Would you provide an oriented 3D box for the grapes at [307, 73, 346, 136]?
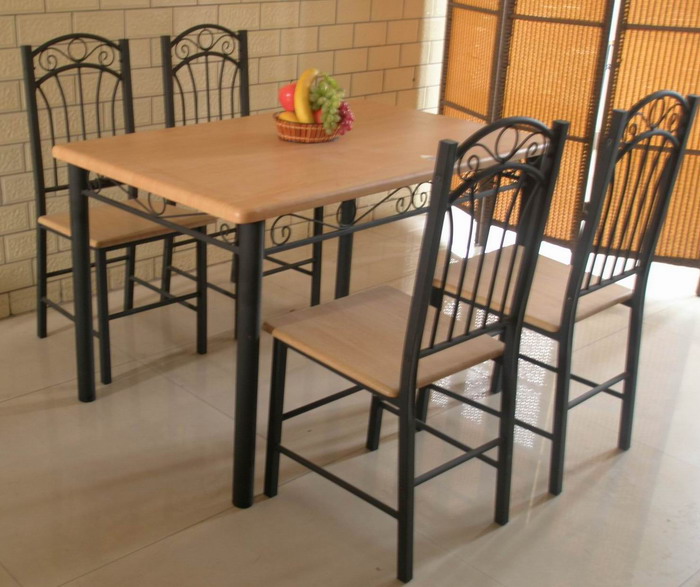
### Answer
[{"bbox_3d":[-0.105,-0.687,2.310,0.123,0.213,0.126,-12,-4,-12],"label":"grapes"}]

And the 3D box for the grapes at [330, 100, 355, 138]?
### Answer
[{"bbox_3d":[-0.016,-0.634,2.341,0.045,0.116,0.094,7,-20,19],"label":"grapes"}]

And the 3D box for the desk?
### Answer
[{"bbox_3d":[-0.296,0.127,2.631,1.742,1.130,1.321,-19,32,-41],"label":"desk"}]

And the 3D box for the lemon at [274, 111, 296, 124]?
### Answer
[{"bbox_3d":[-0.233,-0.630,2.329,0.071,0.047,0.054,21,19,17],"label":"lemon"}]
